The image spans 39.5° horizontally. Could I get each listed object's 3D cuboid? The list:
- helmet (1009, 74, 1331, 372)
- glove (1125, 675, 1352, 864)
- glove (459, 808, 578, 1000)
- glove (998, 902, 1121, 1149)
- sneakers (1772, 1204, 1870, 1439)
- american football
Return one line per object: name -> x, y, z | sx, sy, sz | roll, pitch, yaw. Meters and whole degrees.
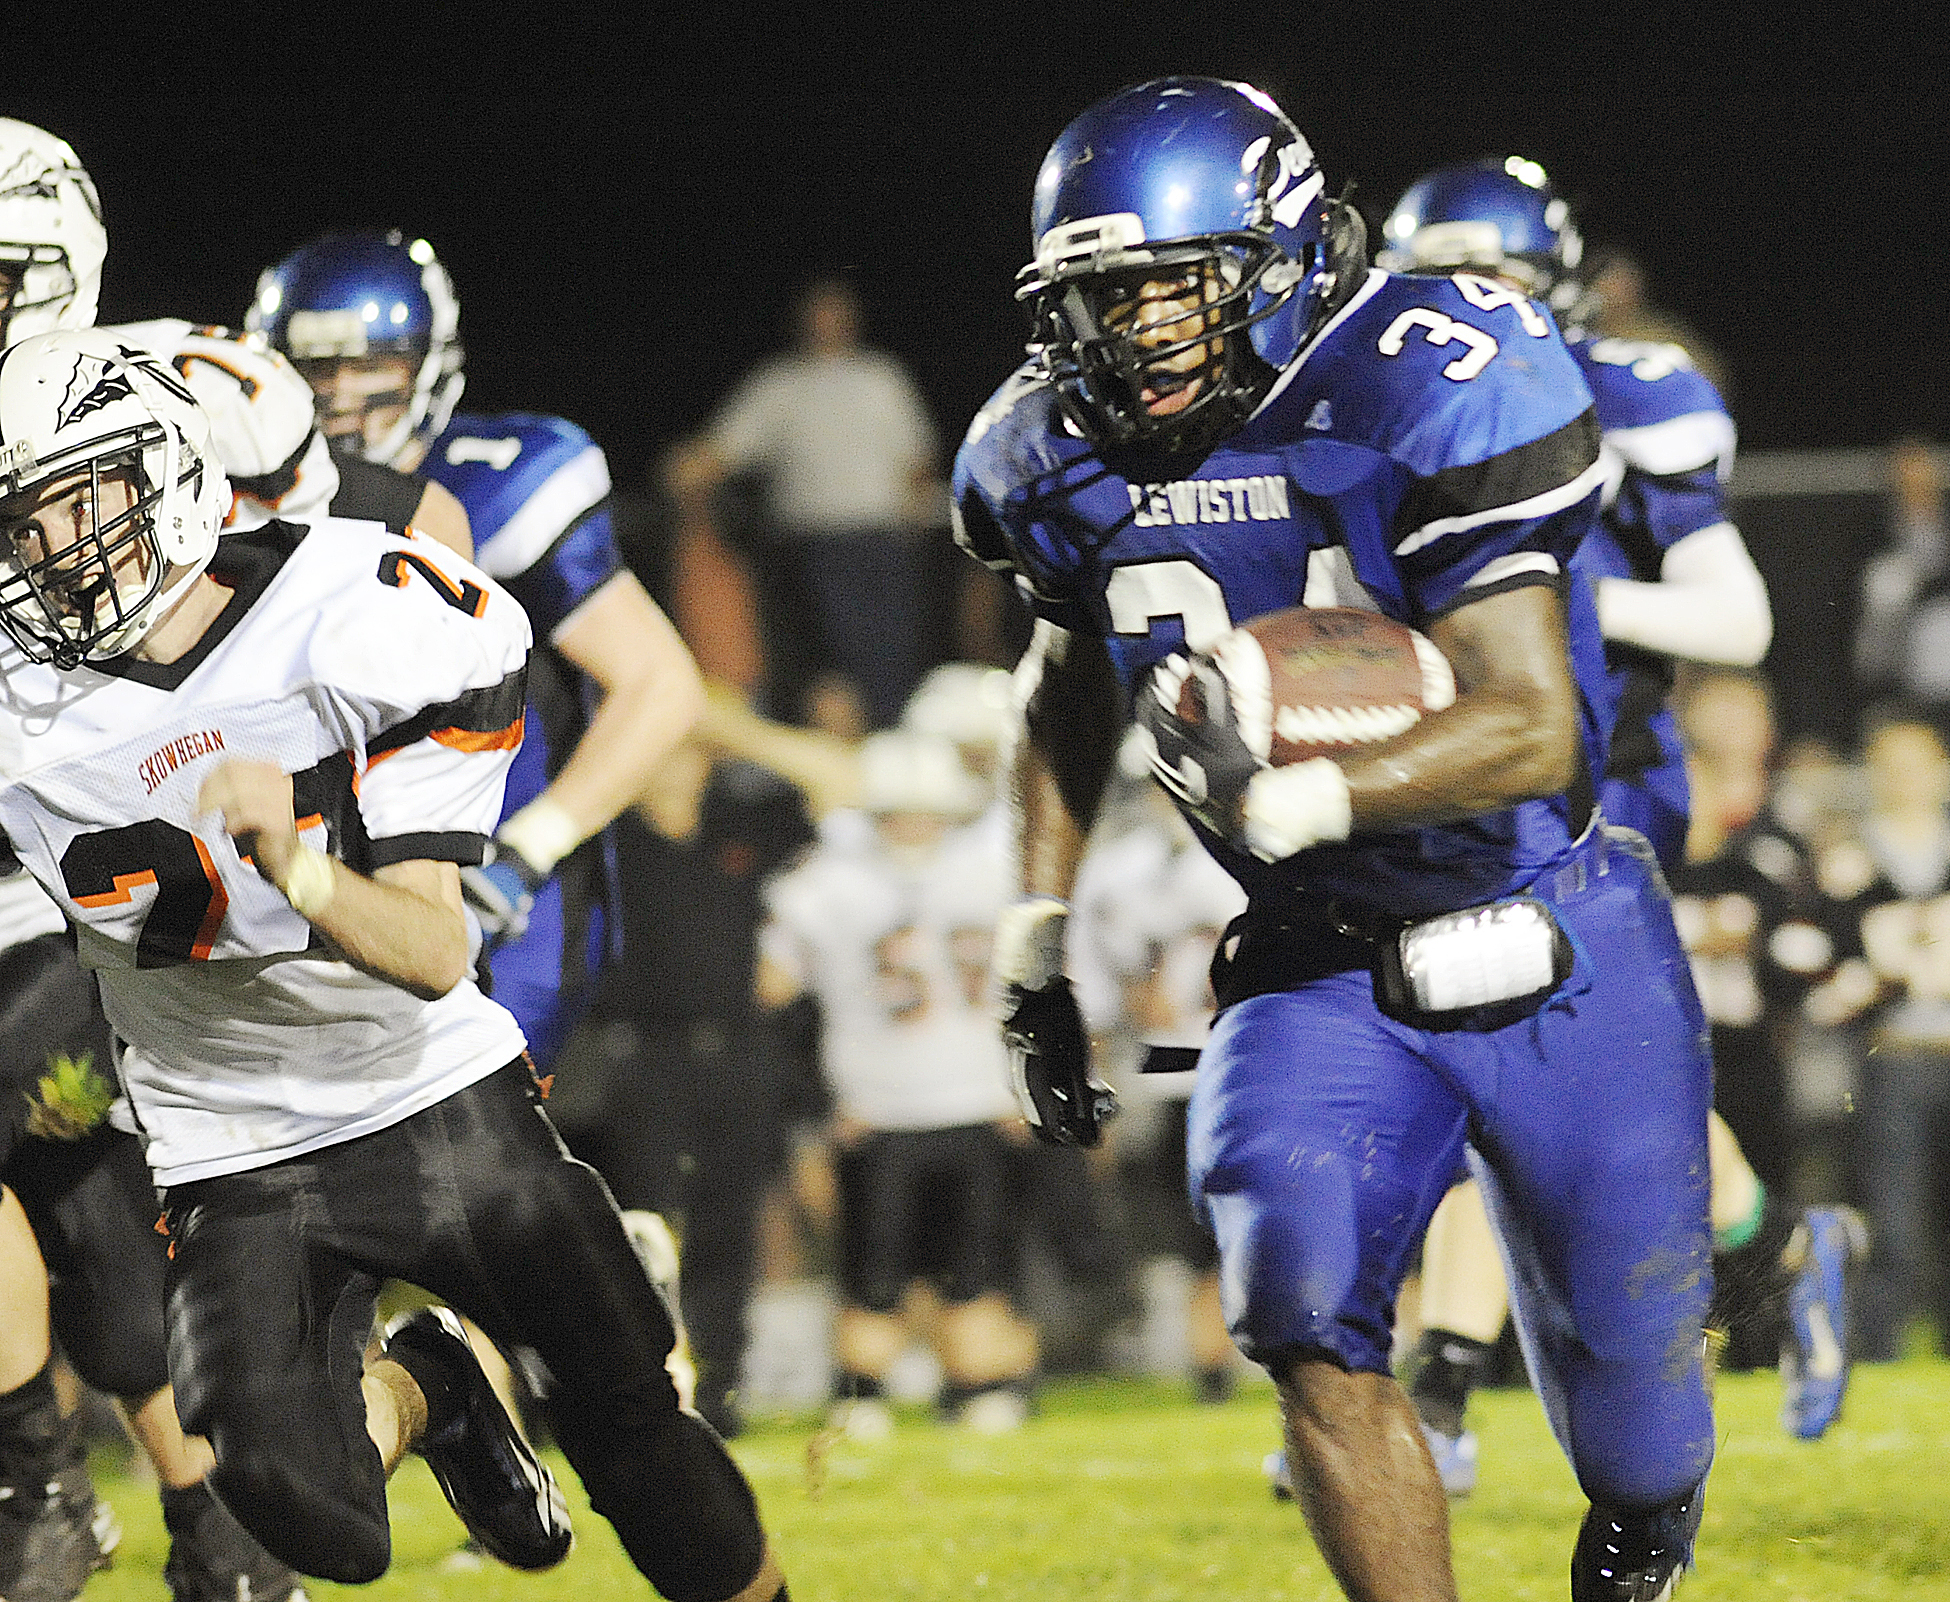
helmet -> 0.302, -0.855, 3.986 | 0.351, 0.377, 0.488 | -9, 16, 32
glove -> 0.334, -0.026, 3.706 | 0.113, 0.280, 0.220 | -47, -12, 25
glove -> -0.800, 0.168, 4.748 | 0.211, 0.275, 0.113 | 39, 13, 34
glove -> 0.110, 0.345, 4.213 | 0.119, 0.323, 0.244 | -12, 1, 5
sneakers -> 1.774, 1.083, 5.679 | 0.147, 0.442, 0.259 | 7, -3, -28
american football -> 0.403, -0.157, 3.821 | 0.214, 0.202, 0.344 | -1, 3, 21
